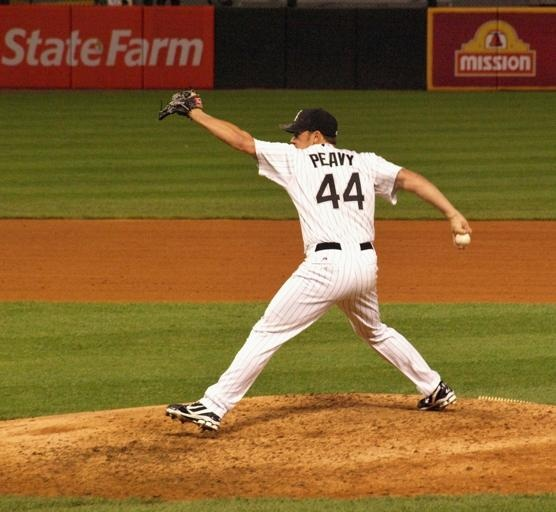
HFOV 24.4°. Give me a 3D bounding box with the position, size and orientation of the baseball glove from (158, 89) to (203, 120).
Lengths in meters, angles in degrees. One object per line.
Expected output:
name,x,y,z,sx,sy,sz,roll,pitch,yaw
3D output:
baseball glove,-0.965,-1.460,12.373,0.395,0.189,0.256,-22,14,4

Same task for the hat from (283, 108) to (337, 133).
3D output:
hat,0.320,-1.279,12.305,0.398,0.197,0.256,10,10,5

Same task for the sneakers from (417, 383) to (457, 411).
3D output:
sneakers,1.525,1.398,12.485,0.459,0.218,0.178,-23,-53,28
